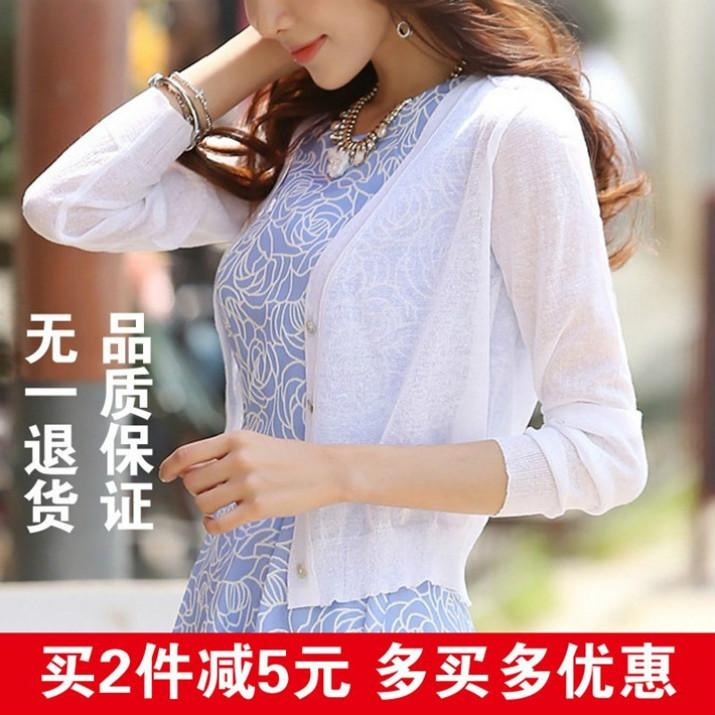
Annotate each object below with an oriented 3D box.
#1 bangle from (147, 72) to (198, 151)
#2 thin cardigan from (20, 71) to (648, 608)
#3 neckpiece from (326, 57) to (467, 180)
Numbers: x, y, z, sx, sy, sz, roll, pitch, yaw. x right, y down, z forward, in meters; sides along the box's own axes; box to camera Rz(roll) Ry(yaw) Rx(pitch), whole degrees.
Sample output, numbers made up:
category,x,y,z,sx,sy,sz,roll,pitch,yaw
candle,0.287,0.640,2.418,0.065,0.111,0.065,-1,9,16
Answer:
category,x,y,z,sx,sy,sz,roll,pitch,yaw
bangle,-0.277,-0.385,2.001,0.038,0.102,0.091,-36,23,-23
thin cardigan,0.001,-0.074,1.786,0.511,0.616,0.855,-17,32,-23
neckpiece,0.050,-0.325,1.831,0.203,0.051,0.127,-42,26,-12
